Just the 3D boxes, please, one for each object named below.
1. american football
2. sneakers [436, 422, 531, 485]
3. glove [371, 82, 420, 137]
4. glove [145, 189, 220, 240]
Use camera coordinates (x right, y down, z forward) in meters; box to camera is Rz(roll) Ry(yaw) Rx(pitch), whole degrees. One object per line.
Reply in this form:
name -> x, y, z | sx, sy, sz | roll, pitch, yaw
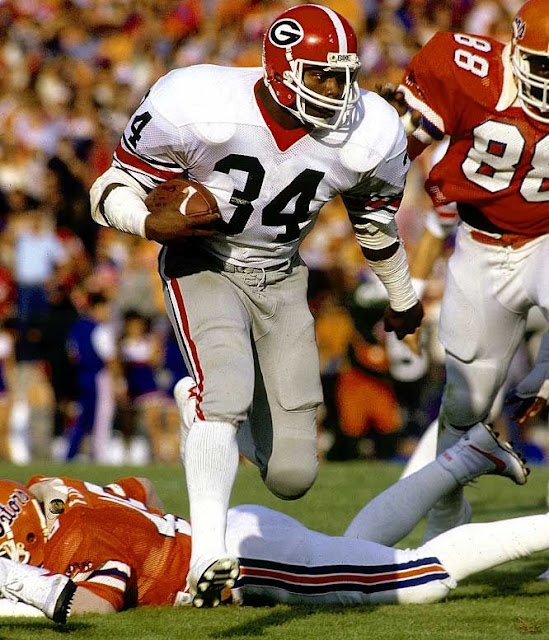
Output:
american football -> -0.237, -0.339, 2.786 | 0.135, 0.144, 0.215 | -40, 6, -13
sneakers -> 0.713, 0.466, 3.363 | 0.199, 0.406, 0.128 | 27, 84, 34
glove -> 0.410, -0.686, 3.350 | 0.074, 0.158, 0.128 | -2, 24, 26
glove -> -0.244, -0.275, 2.705 | 0.124, 0.081, 0.156 | -8, -9, 30
